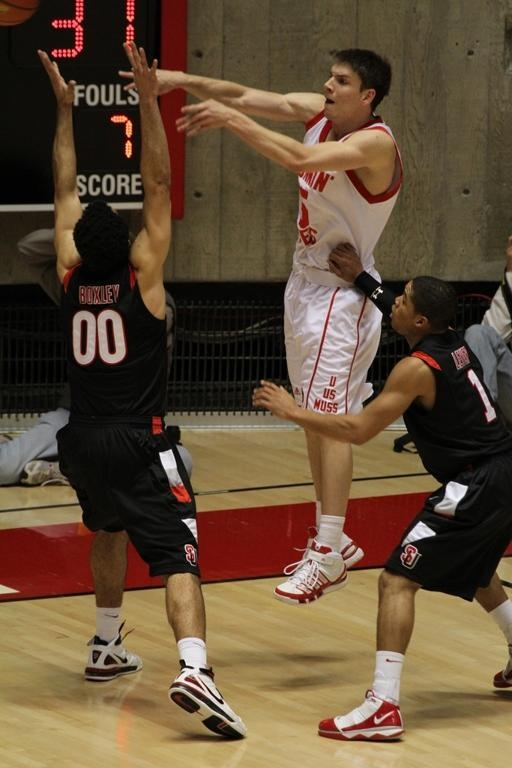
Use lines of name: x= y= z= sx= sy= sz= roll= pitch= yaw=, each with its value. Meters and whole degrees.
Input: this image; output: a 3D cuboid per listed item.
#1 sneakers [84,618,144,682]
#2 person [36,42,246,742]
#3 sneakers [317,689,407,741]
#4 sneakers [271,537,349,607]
sneakers: x=-0.338 y=0.637 z=1.877 sx=0.071 sy=0.120 sz=0.183 roll=4 pitch=3 yaw=36
person: x=-0.248 y=-0.015 z=1.708 sx=0.339 sy=1.470 sz=0.900 roll=1 pitch=6 yaw=-21
sneakers: x=0.204 y=0.640 z=1.525 sx=0.201 sy=0.116 sz=0.069 roll=1 pitch=-11 yaw=9
sneakers: x=0.125 y=0.504 z=2.177 sx=0.105 sy=0.158 sz=0.262 roll=17 pitch=20 yaw=40
